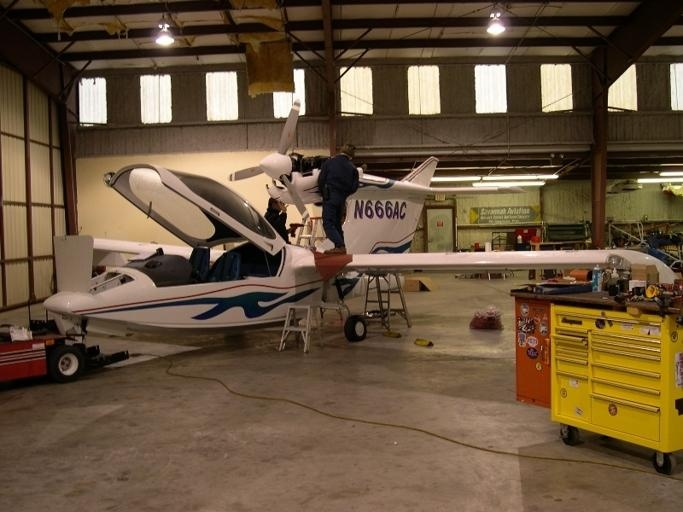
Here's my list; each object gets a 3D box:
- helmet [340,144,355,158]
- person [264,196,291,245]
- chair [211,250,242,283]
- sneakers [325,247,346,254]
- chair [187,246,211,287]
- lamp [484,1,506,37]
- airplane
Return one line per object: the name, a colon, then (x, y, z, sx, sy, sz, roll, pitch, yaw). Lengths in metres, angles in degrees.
helmet: (0.121, -1.737, 10.291, 0.259, 0.313, 0.328, 3, 12, 5)
person: (-1.237, -0.745, 12.441, 0.335, 0.914, 0.684, -20, -28, 8)
chair: (-1.786, 0.170, 9.487, 0.516, 0.392, 0.289, -7, 12, -28)
sneakers: (-0.109, -0.081, 10.068, 0.335, 0.141, 0.123, 4, 1, 17)
chair: (-2.127, 0.134, 9.363, 0.295, 0.465, 0.426, -3, 11, -12)
lamp: (3.988, -6.143, 16.062, 0.416, 0.771, 1.026, 2, 11, 12)
airplane: (-0.938, -0.684, 10.082, 6.459, 3.518, 3.812, -1, 11, -2)
